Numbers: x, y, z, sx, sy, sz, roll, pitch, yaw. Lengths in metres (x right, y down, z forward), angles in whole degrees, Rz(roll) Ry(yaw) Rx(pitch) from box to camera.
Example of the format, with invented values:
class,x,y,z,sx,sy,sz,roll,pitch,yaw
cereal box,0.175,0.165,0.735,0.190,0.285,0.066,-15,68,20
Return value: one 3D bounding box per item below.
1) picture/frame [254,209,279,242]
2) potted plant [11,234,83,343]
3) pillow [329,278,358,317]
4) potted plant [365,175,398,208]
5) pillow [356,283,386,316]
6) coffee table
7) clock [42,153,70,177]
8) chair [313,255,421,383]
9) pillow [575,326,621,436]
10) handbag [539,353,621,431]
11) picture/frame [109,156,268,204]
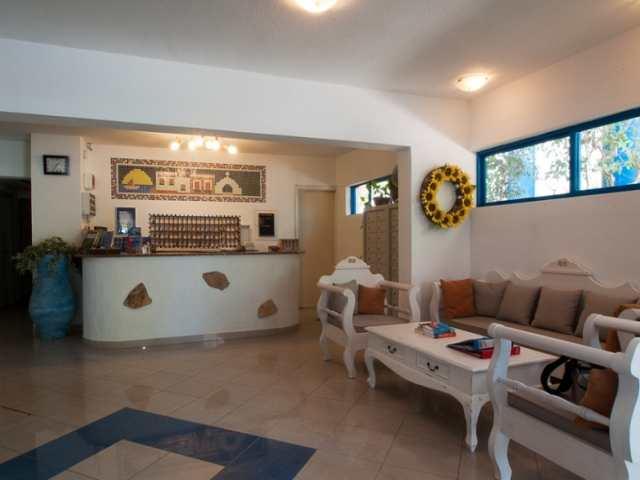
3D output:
class,x,y,z,sx,sy,sz,roll,pitch,yaw
picture/frame,-1.040,-0.258,8.627,0.598,0.813,0.431,-1,0,-24
potted plant,-3.860,0.668,6.543,0.880,1.441,0.791,0,0,35
pillow,0.265,0.674,5.140,0.393,0.486,0.184,-4,-10,-5
potted plant,1.000,-0.784,7.234,0.445,0.495,0.490,4,-6,-34
pillow,0.596,0.719,5.306,0.343,0.341,0.128,2,-17,-2
coffee table,1.256,1.049,3.954,0.852,0.536,1.238,-1,2,-27
clock,-4.063,-1.146,6.818,0.362,0.373,0.042,2,-10,-25
chair,0.835,0.750,5.574,1.460,1.794,1.186,-1,-1,-26
pillow,1.823,0.942,2.912,0.188,0.456,0.487,5,10,33
handbag,1.781,0.966,2.984,0.195,0.376,0.425,-3,-11,-30
picture/frame,-2.328,-1.052,8.040,2.659,0.837,0.063,0,-19,-14
